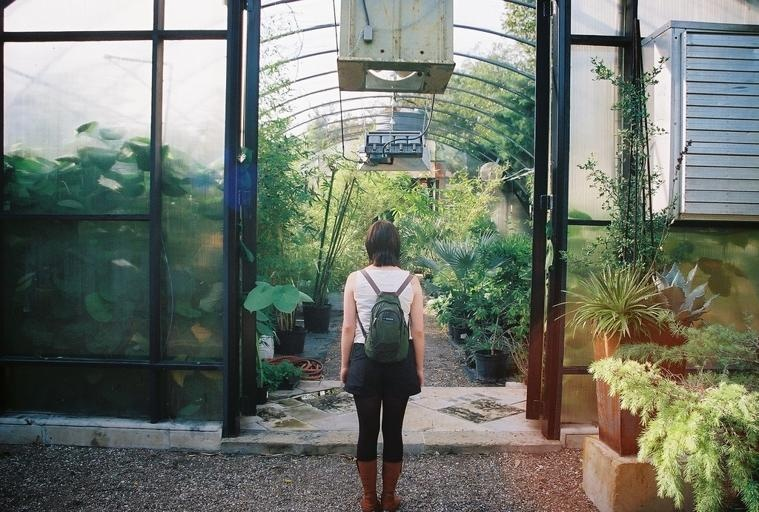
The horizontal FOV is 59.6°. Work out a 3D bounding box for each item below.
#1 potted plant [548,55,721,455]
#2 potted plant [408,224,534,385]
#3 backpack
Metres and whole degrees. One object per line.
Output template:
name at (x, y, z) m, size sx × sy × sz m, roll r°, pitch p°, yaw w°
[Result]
potted plant at (1.968, 0.206, 5.229) m, size 0.680 × 2.293 × 0.798 m, roll 4°, pitch -7°, yaw -8°
potted plant at (1.359, 0.504, 8.595) m, size 1.498 × 1.925 × 1.662 m, roll -4°, pitch 0°, yaw -37°
backpack at (0.048, 0.494, 4.686) m, size 0.311 × 0.509 × 0.465 m, roll 1°, pitch 2°, yaw -3°
